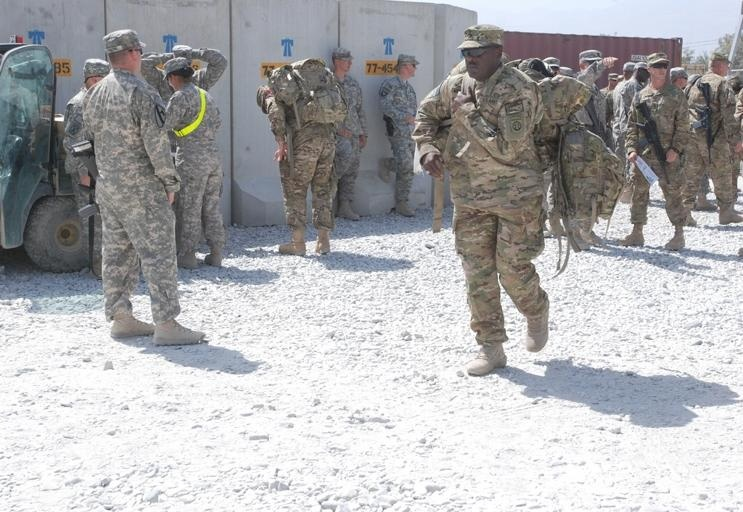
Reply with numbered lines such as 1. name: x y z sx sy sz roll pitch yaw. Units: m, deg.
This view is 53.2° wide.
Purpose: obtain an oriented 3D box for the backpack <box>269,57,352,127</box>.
1. backpack: -0.667 -1.739 7.777 0.825 0.686 0.376 -1 11 -8

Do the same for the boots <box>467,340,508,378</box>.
1. boots: 0.793 0.682 5.090 0.350 0.214 0.120 -13 6 -35

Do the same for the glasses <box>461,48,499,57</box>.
1. glasses: 0.674 -1.290 4.672 0.214 0.066 0.104 2 11 8

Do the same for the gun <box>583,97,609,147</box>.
1. gun: 2.279 -1.362 7.766 0.170 0.534 0.176 -27 -6 4

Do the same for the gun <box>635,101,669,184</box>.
1. gun: 3.111 -1.294 8.229 0.378 0.834 0.196 4 11 17

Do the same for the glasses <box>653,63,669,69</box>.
1. glasses: 3.159 -2.097 8.130 0.169 0.059 0.136 3 11 13

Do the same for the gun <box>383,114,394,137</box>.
1. gun: 0.242 -1.829 10.313 0.184 0.256 0.078 7 14 43

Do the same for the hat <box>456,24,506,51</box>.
1. hat: 0.691 -1.389 4.677 0.261 0.162 0.197 2 11 6

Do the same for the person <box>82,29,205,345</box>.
1. person: -1.710 -0.487 5.451 0.789 2.285 0.286 5 11 20

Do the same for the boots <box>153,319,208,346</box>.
1. boots: -1.454 0.564 5.592 0.455 0.182 0.147 -2 14 -13

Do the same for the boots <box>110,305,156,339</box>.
1. boots: -1.850 0.507 5.743 0.447 0.256 0.159 -7 11 -36

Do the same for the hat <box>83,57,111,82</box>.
1. hat: -2.509 -1.724 6.869 0.314 0.212 0.202 -9 30 -14

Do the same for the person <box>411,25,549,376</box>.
1. person: 0.741 -0.341 4.917 0.899 2.293 0.426 4 11 14

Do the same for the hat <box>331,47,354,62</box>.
1. hat: -0.388 -2.639 9.647 0.246 0.102 0.167 -7 14 4

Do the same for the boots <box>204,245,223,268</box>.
1. boots: -1.627 -0.010 7.640 0.137 0.254 0.287 -4 27 -27

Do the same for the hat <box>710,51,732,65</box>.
1. hat: 4.918 -2.815 10.489 0.219 0.106 0.300 6 13 24

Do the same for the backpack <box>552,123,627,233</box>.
1. backpack: 1.450 -0.543 4.984 0.491 0.728 0.288 4 11 14

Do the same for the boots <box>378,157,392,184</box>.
1. boots: 0.189 -1.247 10.603 0.210 0.352 0.265 -15 26 -31
